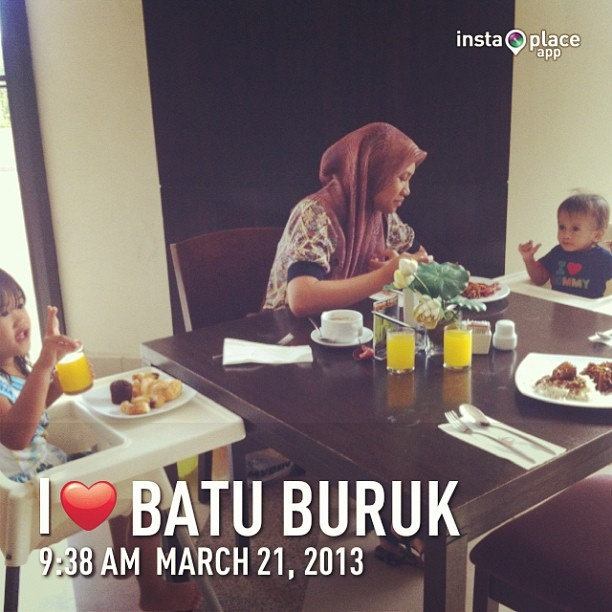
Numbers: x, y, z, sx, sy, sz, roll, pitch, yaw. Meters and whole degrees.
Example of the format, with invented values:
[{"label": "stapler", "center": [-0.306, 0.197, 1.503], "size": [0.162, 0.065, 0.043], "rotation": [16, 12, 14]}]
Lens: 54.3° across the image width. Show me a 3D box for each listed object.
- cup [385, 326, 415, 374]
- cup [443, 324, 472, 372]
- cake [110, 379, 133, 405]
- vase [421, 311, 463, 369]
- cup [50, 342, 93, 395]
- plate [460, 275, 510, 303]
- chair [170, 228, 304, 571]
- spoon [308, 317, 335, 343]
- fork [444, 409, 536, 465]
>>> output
[{"label": "cup", "center": [0.201, 0.088, 1.269], "size": [0.061, 0.087, 0.092], "rotation": [-2, 10, 4]}, {"label": "cup", "center": [0.329, 0.085, 1.277], "size": [0.076, 0.091, 0.100], "rotation": [0, -1, 18]}, {"label": "cake", "center": [-0.356, 0.165, 1.147], "size": [0.045, 0.040, 0.043], "rotation": [1, 11, 0]}, {"label": "vase", "center": [0.305, 0.068, 1.354], "size": [0.097, 0.107, 0.103], "rotation": [-1, 2, -26]}, {"label": "cup", "center": [-0.406, 0.118, 1.065], "size": [0.065, 0.069, 0.067], "rotation": [-12, 0, 0]}, {"label": "plate", "center": [0.524, -0.069, 1.748], "size": [0.119, 0.019, 0.114], "rotation": [-18, 34, -31]}, {"label": "chair", "center": [-0.220, 0.109, 1.970], "size": [0.407, 0.612, 0.424], "rotation": [-5, 31, -10]}, {"label": "spoon", "center": [0.037, 0.060, 1.500], "size": [0.025, 0.016, 0.118], "rotation": [-18, 23, -5]}, {"label": "fork", "center": [0.282, 0.201, 0.968], "size": [0.037, 0.024, 0.206], "rotation": [-21, 32, -22]}]
